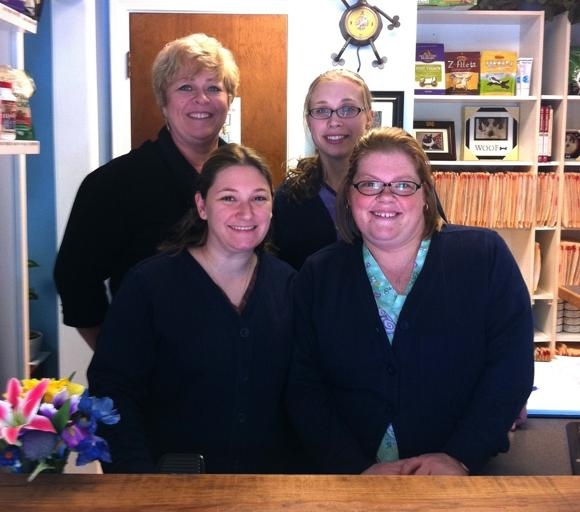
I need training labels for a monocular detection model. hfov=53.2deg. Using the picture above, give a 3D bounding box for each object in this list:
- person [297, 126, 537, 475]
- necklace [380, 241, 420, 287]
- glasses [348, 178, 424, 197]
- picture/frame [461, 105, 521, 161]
[{"bbox_3d":[0.327,0.127,1.638,0.667,0.994,0.392,0,6,22],"label":"person"},{"bbox_3d":[0.334,0.036,1.706,0.092,0.109,0.141,-2,45,17],"label":"necklace"},{"bbox_3d":[0.276,-0.192,1.643,0.190,0.051,0.041,-1,6,8],"label":"glasses"},{"bbox_3d":[1.464,-0.909,4.311,0.445,0.400,0.163,-3,8,-14],"label":"picture/frame"}]
